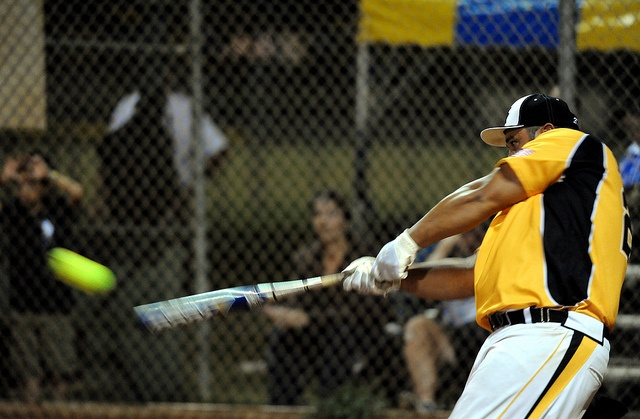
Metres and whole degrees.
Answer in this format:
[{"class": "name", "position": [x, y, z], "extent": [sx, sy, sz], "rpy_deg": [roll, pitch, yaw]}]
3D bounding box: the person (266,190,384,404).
[{"class": "person", "position": [-0.041, 0.834, 8.606], "extent": [1.028, 0.477, 1.862], "rpy_deg": [9, 96, -30]}]

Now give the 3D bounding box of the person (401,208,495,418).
[{"class": "person", "position": [1.152, 0.937, 8.534], "extent": [0.786, 0.669, 1.737], "rpy_deg": [0, 90, -21]}]

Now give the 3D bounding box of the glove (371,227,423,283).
[{"class": "glove", "position": [0.560, 0.373, 6.881], "extent": [0.167, 0.322, 0.380], "rpy_deg": [6, 129, -49]}]

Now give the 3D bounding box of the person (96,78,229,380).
[{"class": "person", "position": [-1.574, -0.141, 8.566], "extent": [0.822, 0.706, 1.955], "rpy_deg": [5, 85, -34]}]
